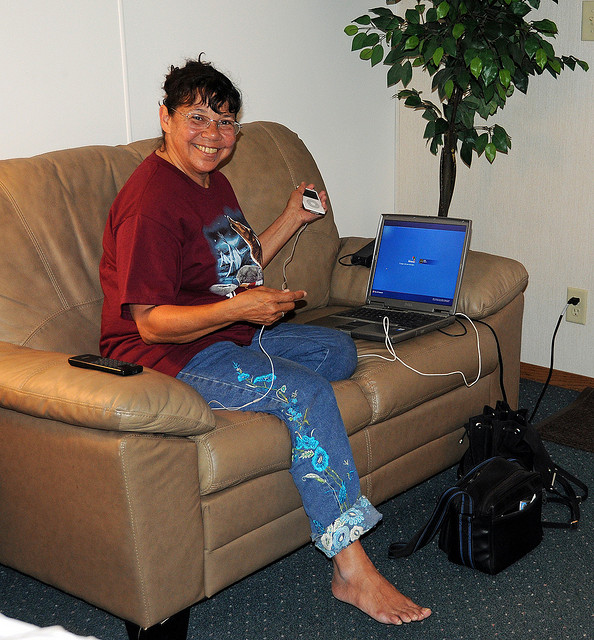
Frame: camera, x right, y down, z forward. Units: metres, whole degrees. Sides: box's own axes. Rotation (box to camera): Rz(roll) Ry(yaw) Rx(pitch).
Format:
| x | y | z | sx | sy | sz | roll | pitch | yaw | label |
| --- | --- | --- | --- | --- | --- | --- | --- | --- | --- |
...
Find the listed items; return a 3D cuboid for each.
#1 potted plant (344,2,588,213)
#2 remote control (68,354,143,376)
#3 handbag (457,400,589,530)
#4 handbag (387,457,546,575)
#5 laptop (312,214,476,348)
| x | y | z | sx | sy | sz | roll | pitch | yaw | label |
| --- | --- | --- | --- | --- | --- | --- | --- | --- | --- |
| 0.701 | -0.938 | 2.787 | 0.917 | 1.397 | 1.040 | 7 | 28 | 13 | potted plant |
| -0.368 | 0.080 | 1.067 | 0.119 | 0.018 | 0.058 | 10 | 14 | 19 | remote control |
| 0.630 | 0.351 | 1.662 | 0.321 | 0.317 | 0.400 | 9 | 19 | 15 | handbag |
| 0.466 | 0.477 | 1.451 | 0.341 | 0.250 | 0.266 | -16 | 16 | -37 | handbag |
| 0.309 | -0.163 | 1.834 | 0.475 | 0.339 | 0.427 | -11 | 14 | -31 | laptop |
